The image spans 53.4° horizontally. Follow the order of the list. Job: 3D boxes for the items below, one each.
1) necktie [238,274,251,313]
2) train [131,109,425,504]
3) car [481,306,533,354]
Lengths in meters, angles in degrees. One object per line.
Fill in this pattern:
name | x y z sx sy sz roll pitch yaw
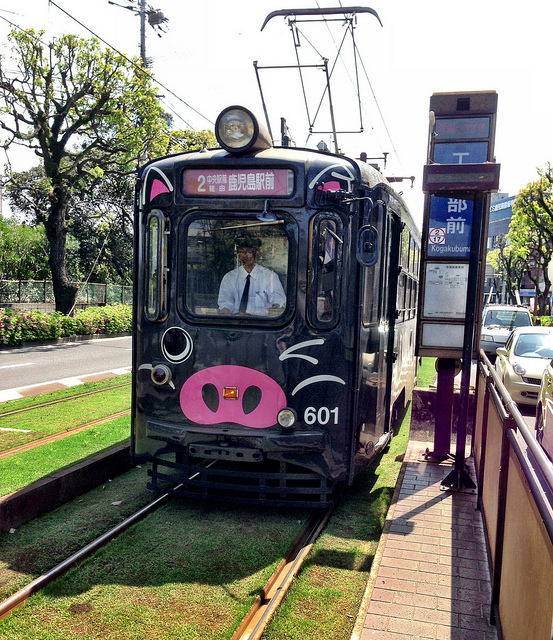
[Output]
necktie | -0.267 -0.223 4.711 0.066 0.325 0.012 10 5 10
train | 0.893 -0.065 8.012 2.073 3.547 7.427 1 0 20
car | 6.650 0.297 15.861 1.121 1.315 2.301 -1 -3 14
